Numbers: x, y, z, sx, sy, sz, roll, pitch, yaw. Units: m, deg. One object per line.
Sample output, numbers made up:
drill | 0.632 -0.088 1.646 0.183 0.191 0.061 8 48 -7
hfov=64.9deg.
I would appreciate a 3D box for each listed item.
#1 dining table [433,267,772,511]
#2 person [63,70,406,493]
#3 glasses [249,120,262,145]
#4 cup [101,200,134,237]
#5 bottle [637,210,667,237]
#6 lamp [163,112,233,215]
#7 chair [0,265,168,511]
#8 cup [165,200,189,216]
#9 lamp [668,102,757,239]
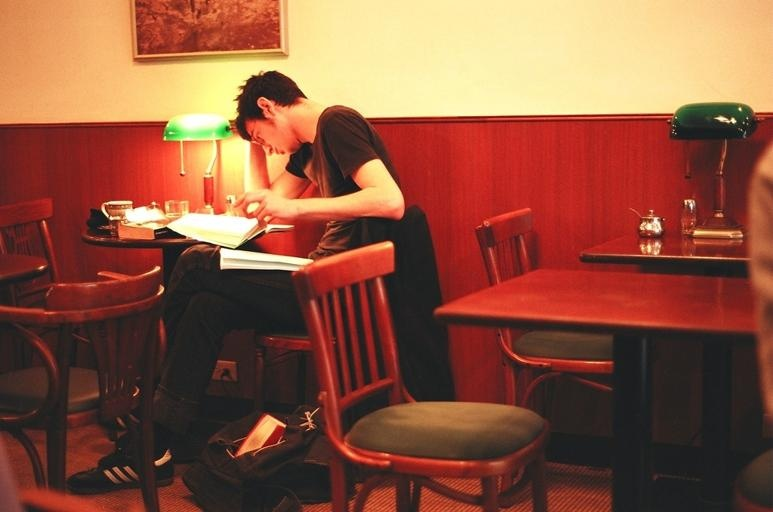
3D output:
dining table | 0.697 0.282 1.951 0.768 0.739 0.774 2 9 20
person | -0.639 0.047 2.914 1.425 1.899 0.866 -2 -6 -9
glasses | -0.636 -0.619 2.969 0.056 0.086 0.069 0 6 6
cup | -1.361 -0.200 3.162 0.158 0.224 0.233 0 -1 -25
bottle | 1.200 -0.157 2.743 0.145 0.128 0.106 -1 3 29
lamp | -1.047 -0.499 3.304 0.354 0.501 0.303 -3 7 -23
chair | -1.041 0.531 2.215 0.528 0.956 0.249 -9 15 -21
cup | -1.141 -0.259 3.322 0.110 0.081 0.109 1 0 0
lamp | 1.477 -0.385 2.713 0.321 0.579 0.328 -9 9 -43
